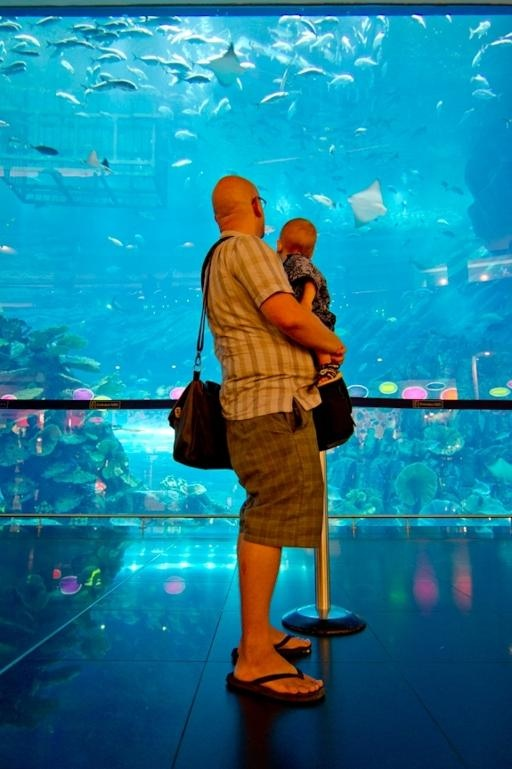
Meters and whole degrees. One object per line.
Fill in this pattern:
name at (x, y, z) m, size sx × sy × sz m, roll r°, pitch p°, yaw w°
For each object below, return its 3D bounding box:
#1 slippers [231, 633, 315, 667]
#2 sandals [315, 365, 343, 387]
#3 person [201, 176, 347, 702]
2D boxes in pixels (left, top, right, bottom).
slippers at (0.061, 0.900, 2.097) m, size 0.279 × 0.068 × 0.103 m, roll -3°, pitch 2°, yaw -9°
sandals at (0.226, -0.030, 1.941) m, size 0.110 × 0.074 × 0.037 m, roll -9°, pitch 7°, yaw 7°
person at (0.068, 0.095, 1.913) m, size 0.434 × 1.459 × 0.378 m, roll -5°, pitch -1°, yaw 7°
